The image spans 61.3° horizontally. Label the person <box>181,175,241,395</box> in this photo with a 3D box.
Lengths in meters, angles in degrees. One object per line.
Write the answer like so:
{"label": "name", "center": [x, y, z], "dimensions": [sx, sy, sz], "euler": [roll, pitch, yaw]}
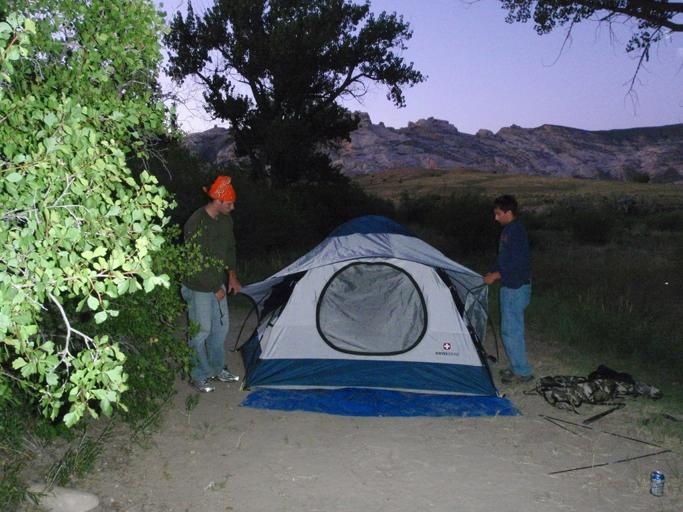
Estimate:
{"label": "person", "center": [-1.564, 0.344, 6.908], "dimensions": [0.624, 2.610, 1.122], "euler": [0, 10, -5]}

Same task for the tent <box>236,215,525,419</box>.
{"label": "tent", "center": [0.389, 0.614, 7.085], "dimensions": [2.965, 2.053, 1.677], "euler": [1, 10, 2]}

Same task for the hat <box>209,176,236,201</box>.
{"label": "hat", "center": [-1.373, -0.868, 6.844], "dimensions": [0.246, 0.291, 0.343], "euler": [25, 29, 27]}

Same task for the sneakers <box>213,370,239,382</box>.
{"label": "sneakers", "center": [-1.443, 1.540, 7.338], "dimensions": [0.245, 0.108, 0.148], "euler": [-1, 0, 15]}

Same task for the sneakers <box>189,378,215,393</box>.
{"label": "sneakers", "center": [-1.701, 1.568, 7.001], "dimensions": [0.326, 0.165, 0.134], "euler": [4, 9, 13]}
